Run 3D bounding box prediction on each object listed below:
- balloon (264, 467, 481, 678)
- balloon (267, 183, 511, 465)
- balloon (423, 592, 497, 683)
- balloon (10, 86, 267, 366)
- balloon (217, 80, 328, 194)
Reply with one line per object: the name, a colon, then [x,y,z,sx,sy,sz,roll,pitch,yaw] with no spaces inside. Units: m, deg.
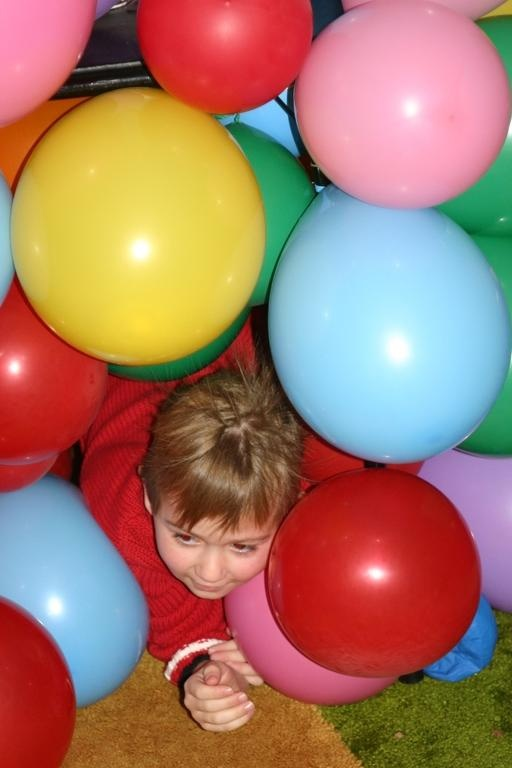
balloon: [0.129,0.253,0.926,0.221,0.255,0.317,3,101,-11]
balloon: [0.156,-0.070,0.892,0.237,0.252,0.364,-4,89,-19]
balloon: [0.374,0.434,1.167,0.143,0.059,0.167,11,93,18]
balloon: [-0.123,-0.147,0.852,0.272,0.287,0.364,5,89,-15]
balloon: [0.057,-0.404,1.226,0.093,0.301,0.106,-29,46,22]
